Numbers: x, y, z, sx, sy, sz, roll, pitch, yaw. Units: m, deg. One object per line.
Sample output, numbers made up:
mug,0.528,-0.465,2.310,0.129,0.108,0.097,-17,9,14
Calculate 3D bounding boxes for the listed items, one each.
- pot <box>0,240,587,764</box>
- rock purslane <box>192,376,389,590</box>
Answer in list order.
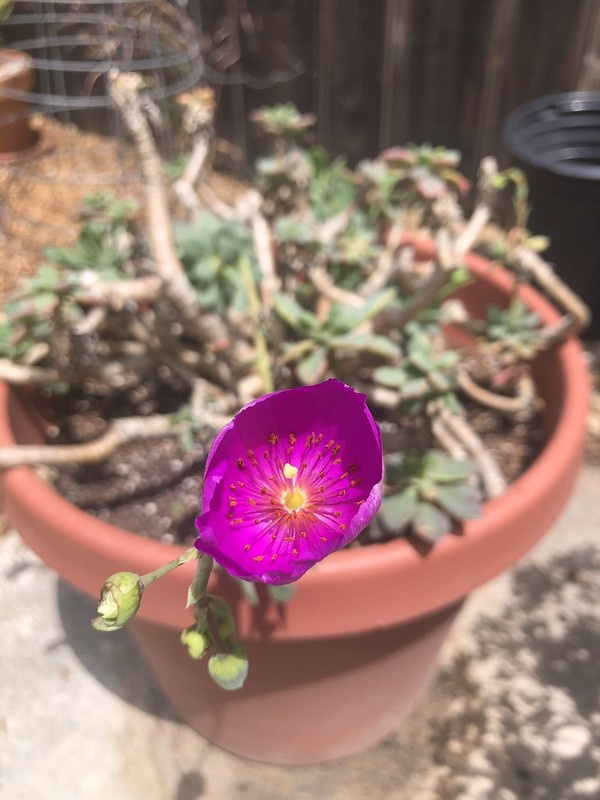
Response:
pot,0.002,0.168,1.024,0.716,0.451,0.614,-2,36,-1
rock purslane,-0.013,0.072,0.635,0.156,0.086,0.177,39,74,5
